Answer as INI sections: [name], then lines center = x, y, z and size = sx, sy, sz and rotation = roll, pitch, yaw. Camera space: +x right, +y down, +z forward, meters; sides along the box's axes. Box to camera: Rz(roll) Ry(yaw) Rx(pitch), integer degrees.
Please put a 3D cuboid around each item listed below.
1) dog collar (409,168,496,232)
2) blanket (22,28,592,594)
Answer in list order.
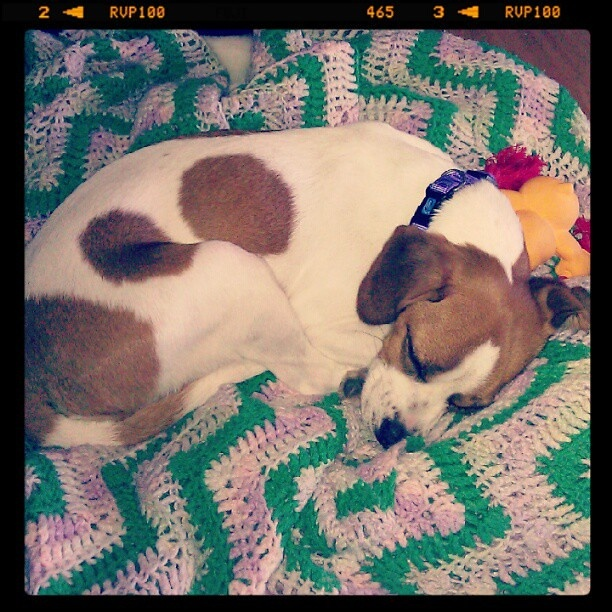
[dog collar]
center = 0.522, -0.364, 2.928
size = 0.254, 0.101, 0.187
rotation = -45, 44, 10
[blanket]
center = 0.121, 0.349, 3.960
size = 2.032, 0.520, 2.244
rotation = 5, 64, 0
